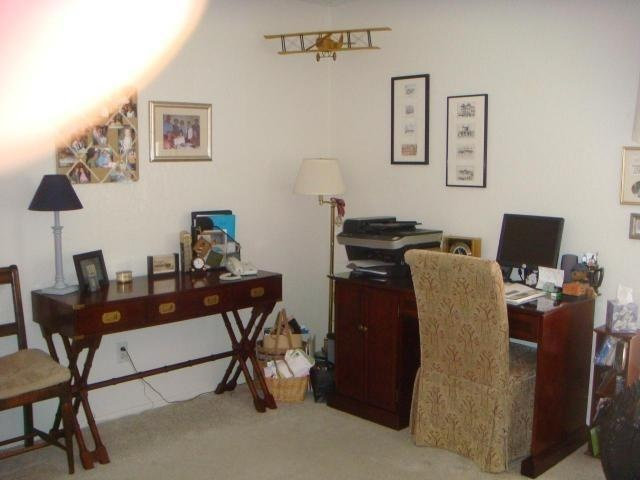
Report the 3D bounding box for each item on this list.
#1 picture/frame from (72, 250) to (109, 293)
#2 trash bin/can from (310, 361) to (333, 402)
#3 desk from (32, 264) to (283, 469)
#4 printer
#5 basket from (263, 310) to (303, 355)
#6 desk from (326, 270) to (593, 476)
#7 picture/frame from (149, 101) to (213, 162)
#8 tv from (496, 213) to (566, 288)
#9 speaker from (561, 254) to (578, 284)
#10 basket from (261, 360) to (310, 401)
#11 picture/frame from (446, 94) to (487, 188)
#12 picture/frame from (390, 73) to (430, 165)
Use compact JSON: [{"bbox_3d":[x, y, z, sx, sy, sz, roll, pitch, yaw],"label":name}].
[{"bbox_3d":[-1.492,0.198,3.595,0.209,0.228,0.020,-10,5,3],"label":"picture/frame"},{"bbox_3d":[0.022,1.085,4.382,0.205,0.389,0.282,1,0,11],"label":"trash bin/can"},{"bbox_3d":[-1.069,0.824,3.904,1.578,1.084,0.644,-4,8,-45],"label":"desk"},{"bbox_3d":[0.491,0.051,4.114,0.593,0.407,0.640,-9,10,-33],"label":"printer"},{"bbox_3d":[-0.298,0.722,4.240,0.318,0.390,0.148,-1,1,-15],"label":"basket"},{"bbox_3d":[1.056,0.845,3.879,2.047,1.373,1.015,4,5,41],"label":"desk"},{"bbox_3d":[-1.052,-0.799,4.058,0.440,0.403,0.042,-4,6,-39],"label":"picture/frame"},{"bbox_3d":[1.433,0.077,3.687,0.410,0.500,0.165,6,-3,42],"label":"tv"},{"bbox_3d":[1.624,0.191,3.578,0.113,0.166,0.299,6,13,24],"label":"speaker"},{"bbox_3d":[-0.258,1.074,4.249,0.323,0.229,0.261,1,-3,-9],"label":"basket"},{"bbox_3d":[1.099,-0.730,4.104,0.355,0.667,0.061,9,14,38],"label":"picture/frame"},{"bbox_3d":[0.723,-0.949,4.389,0.371,0.686,0.074,9,14,37],"label":"picture/frame"}]
